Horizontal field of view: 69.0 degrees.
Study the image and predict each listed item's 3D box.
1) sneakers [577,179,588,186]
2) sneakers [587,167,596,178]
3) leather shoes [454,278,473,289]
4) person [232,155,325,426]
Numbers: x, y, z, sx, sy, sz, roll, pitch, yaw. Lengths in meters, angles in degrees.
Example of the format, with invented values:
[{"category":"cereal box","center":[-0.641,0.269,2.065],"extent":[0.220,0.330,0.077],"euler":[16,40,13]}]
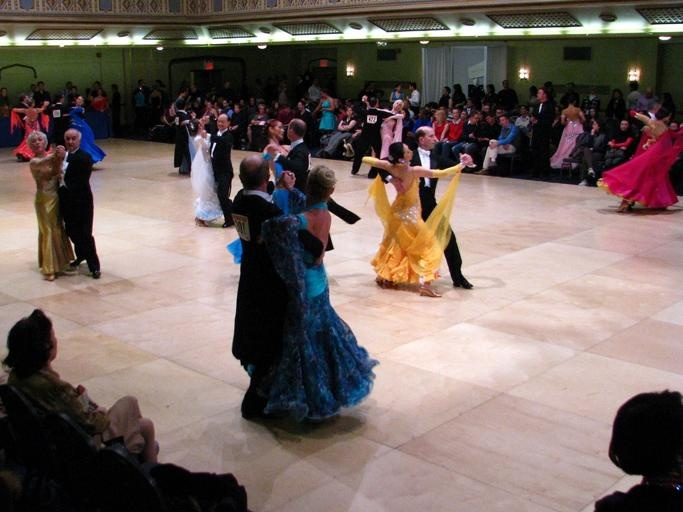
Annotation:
[{"category":"sneakers","center":[6.152,-1.853,12.634],"extent":[0.356,0.138,0.120],"euler":[-16,21,-40]},{"category":"sneakers","center":[6.291,-2.099,12.530],"extent":[0.124,0.159,0.374],"euler":[-4,4,9]},{"category":"leather shoes","center":[1.627,0.343,6.632],"extent":[0.255,0.156,0.202],"euler":[4,15,13]},{"category":"person","center":[-0.635,0.289,3.751],"extent":[0.402,2.028,0.482],"euler":[-3,15,-13]}]
